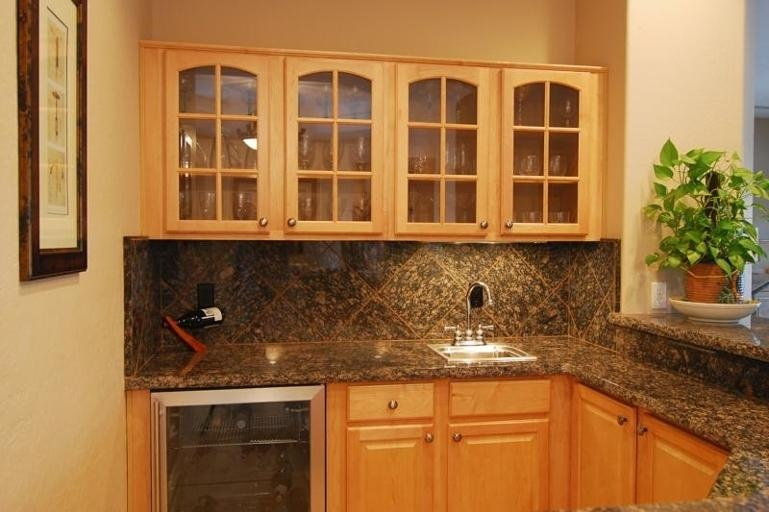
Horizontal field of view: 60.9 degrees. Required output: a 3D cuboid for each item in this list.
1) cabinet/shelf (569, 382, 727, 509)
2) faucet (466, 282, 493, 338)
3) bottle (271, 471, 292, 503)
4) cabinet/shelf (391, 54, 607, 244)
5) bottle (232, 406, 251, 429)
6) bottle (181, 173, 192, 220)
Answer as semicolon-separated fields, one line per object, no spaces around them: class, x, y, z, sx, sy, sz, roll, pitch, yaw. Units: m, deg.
cabinet/shelf;1.236;0.866;3.004;0.277;0.607;0.651;9;-2;-24
faucet;0.569;0.333;3.887;0.167;0.373;0.359;1;9;9
bottle;-0.532;1.187;3.373;0.121;0.193;0.050;2;2;8
cabinet/shelf;0.614;-0.590;3.675;1.056;0.899;0.404;0;1;-6
bottle;-0.730;0.815;3.313;0.113;0.156;0.016;1;5;-5
bottle;-1.058;-0.315;3.476;0.067;0.228;0.046;-3;9;-16
